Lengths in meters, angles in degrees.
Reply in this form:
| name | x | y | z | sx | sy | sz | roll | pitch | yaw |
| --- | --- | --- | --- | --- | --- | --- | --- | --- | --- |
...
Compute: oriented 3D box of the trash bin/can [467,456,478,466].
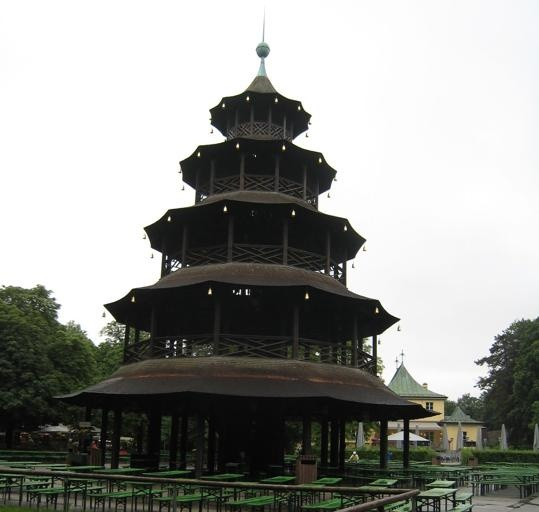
| name | x | y | z | sx | sy | sz | roll | pitch | yaw |
| --- | --- | --- | --- | --- | --- | --- | --- | --- | --- |
| trash bin/can | 12.697 | 12.659 | 50.239 | 0.698 | 0.535 | 0.624 | 0 | -8 | 7 |
